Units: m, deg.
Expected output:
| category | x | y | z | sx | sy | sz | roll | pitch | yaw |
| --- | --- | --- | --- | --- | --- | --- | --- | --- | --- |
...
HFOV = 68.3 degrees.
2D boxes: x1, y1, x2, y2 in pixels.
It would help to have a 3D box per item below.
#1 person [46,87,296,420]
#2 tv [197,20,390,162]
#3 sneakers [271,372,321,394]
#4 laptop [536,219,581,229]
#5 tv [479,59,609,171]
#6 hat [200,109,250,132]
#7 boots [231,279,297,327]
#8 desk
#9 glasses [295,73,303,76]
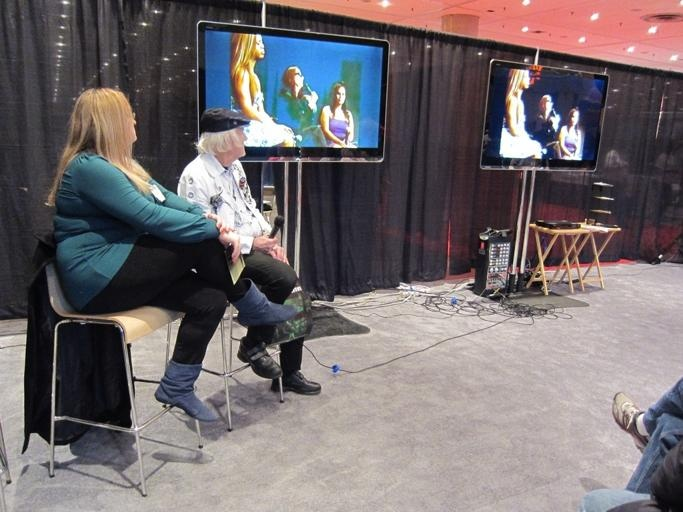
| category | x | y | z | sx | sy | sz | roll | pitch | yaw |
| --- | --- | --- | --- | --- | --- | --- | --- | --- | --- |
| person | -0.929 | 0.001 | 2.475 | 1.028 | 1.558 | 0.488 | 2 | 17 | -4 |
| tv | -0.375 | -1.210 | 3.731 | 1.489 | 0.874 | 0.013 | -2 | 13 | -16 |
| sneakers | -0.286 | 0.799 | 3.223 | 0.299 | 0.129 | 0.132 | 0 | 5 | 2 |
| laptop | 2.297 | -0.333 | 5.350 | 0.449 | 0.056 | 0.275 | 8 | 16 | 19 |
| tv | 1.942 | -1.370 | 4.924 | 1.415 | 0.861 | 0.055 | 3 | 6 | -26 |
| hat | -0.676 | -0.784 | 2.898 | 0.206 | 0.072 | 0.143 | -2 | 23 | -12 |
| boots | -0.386 | 0.250 | 2.869 | 0.435 | 0.303 | 0.152 | -5 | 17 | -21 |
| desk | 2.667 | 0.035 | 5.860 | 0.838 | 0.571 | 0.316 | -6 | 18 | -27 |
| glasses | -0.327 | -1.377 | 3.807 | 0.039 | 0.027 | 0.015 | -3 | -11 | -1 |
